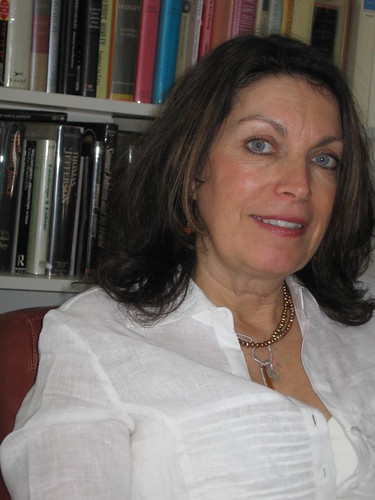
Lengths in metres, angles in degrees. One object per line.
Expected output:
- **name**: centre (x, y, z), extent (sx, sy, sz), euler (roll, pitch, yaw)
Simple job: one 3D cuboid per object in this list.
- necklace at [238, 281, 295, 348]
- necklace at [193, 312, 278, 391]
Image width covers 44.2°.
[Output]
- **necklace**: centre (0.168, 0.145, 1.037), extent (0.155, 0.026, 0.192), euler (-18, 34, 7)
- **necklace**: centre (0.132, 0.192, 0.912), extent (0.075, 0.041, 0.176), euler (-3, 42, -20)
